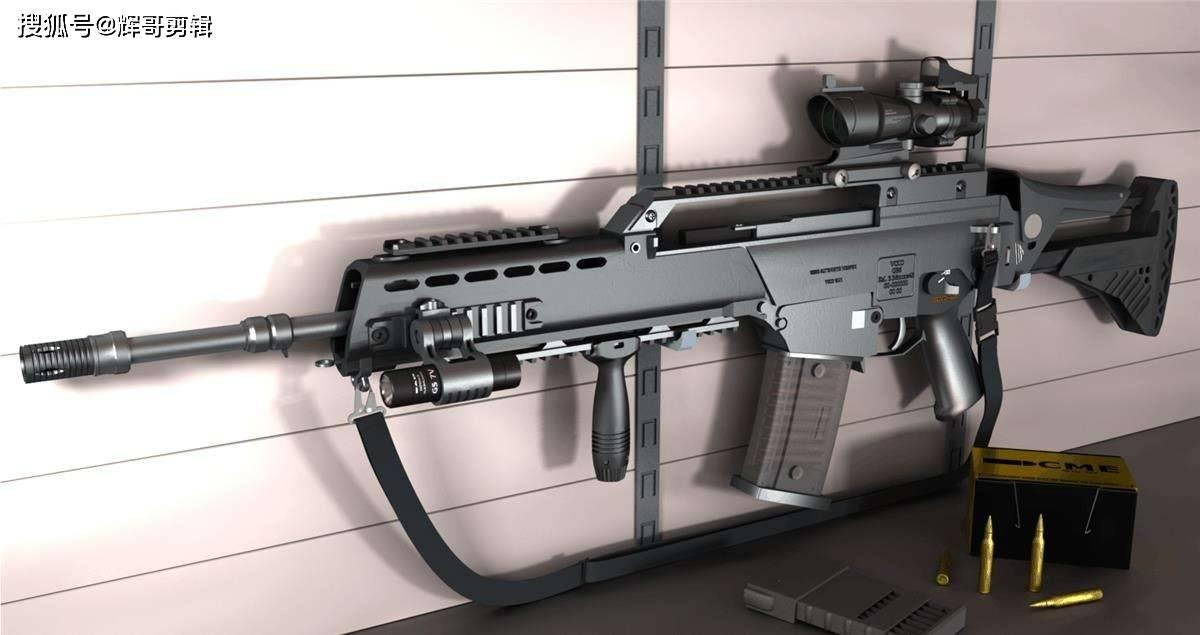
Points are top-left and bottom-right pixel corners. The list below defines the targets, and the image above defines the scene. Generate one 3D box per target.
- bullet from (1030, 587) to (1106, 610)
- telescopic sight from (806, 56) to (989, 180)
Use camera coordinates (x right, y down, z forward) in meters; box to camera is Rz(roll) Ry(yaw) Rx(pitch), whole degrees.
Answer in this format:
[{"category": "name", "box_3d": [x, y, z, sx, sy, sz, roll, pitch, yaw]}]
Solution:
[{"category": "bullet", "box_3d": [1.443, 0.868, 2.526, 0.178, 0.026, 0.027, -5, 42, -12]}, {"category": "telescopic sight", "box_3d": [0.960, -0.666, 2.637, 0.680, 0.305, 0.251, -9, 20, -26]}]
